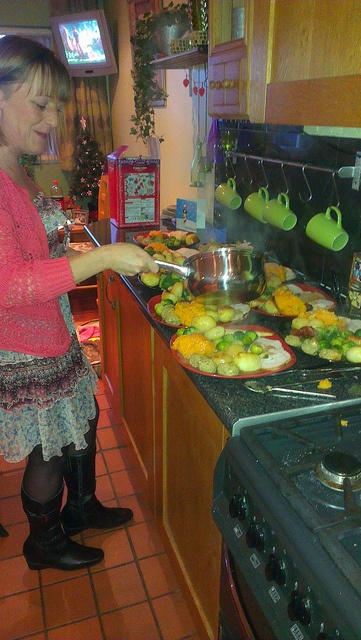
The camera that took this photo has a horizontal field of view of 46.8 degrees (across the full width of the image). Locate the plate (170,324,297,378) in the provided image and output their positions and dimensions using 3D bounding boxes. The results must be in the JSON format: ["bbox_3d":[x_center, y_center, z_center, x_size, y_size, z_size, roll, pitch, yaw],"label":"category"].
[{"bbox_3d":[0.127,0.074,1.036,0.286,0.031,0.298,-7,17,-15],"label":"plate"}]

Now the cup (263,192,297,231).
[{"bbox_3d":[0.353,-0.394,1.503,0.074,0.125,0.151,-5,17,-7],"label":"cup"}]

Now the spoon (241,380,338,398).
[{"bbox_3d":[0.221,0.140,0.841,0.113,0.025,0.021,0,24,4],"label":"spoon"}]

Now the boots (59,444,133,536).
[{"bbox_3d":[-0.333,0.652,1.652,0.269,0.388,0.113,-6,22,-21],"label":"boots"}]
